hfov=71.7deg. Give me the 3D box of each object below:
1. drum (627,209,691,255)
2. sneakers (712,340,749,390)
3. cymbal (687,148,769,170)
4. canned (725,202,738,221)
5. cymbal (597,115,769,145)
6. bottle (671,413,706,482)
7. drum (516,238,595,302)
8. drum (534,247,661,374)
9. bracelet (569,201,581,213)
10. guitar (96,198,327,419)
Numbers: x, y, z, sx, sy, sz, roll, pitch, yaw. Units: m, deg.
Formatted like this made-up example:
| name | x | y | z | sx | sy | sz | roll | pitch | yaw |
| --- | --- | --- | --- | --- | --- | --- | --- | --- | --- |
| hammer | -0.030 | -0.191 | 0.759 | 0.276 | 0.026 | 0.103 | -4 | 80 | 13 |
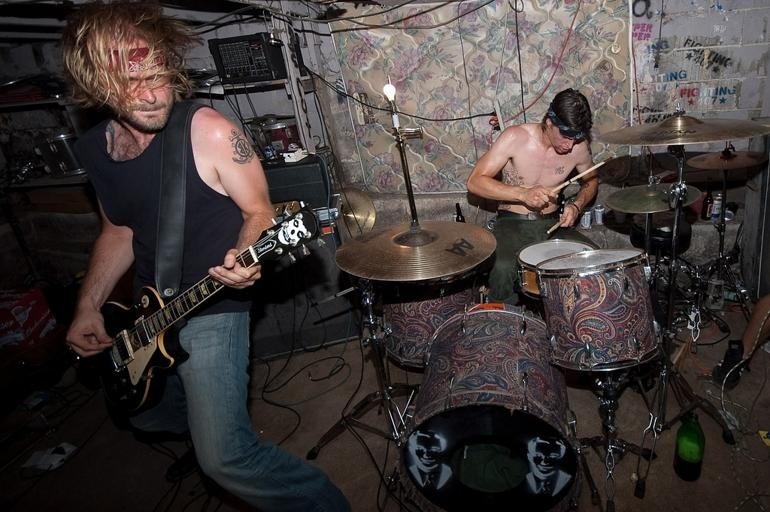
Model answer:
| name | x | y | z | sx | sy | sz | roll | pitch | yaw |
| --- | --- | --- | --- | --- | --- | --- | --- | --- | --- |
| drum | 2.578 | -0.218 | 4.913 | 0.497 | 0.269 | 0.480 | -2 | 8 | 0 |
| sneakers | 2.965 | 0.938 | 4.584 | 0.193 | 0.206 | 0.521 | 23 | 71 | 45 |
| cymbal | 3.123 | -0.874 | 4.845 | 0.343 | 0.082 | 0.356 | 6 | 36 | 32 |
| canned | 3.553 | -0.458 | 5.426 | 0.103 | 0.152 | 0.297 | 12 | 30 | 33 |
| cymbal | 2.584 | -1.068 | 4.475 | 0.570 | 0.117 | 0.560 | -15 | 25 | -18 |
| bottle | 2.323 | 1.417 | 4.016 | 0.212 | 0.502 | 0.292 | 11 | 30 | 32 |
| drum | 1.298 | 0.061 | 4.297 | 0.521 | 0.222 | 0.534 | -15 | 19 | 5 |
| drum | 1.603 | 0.385 | 3.984 | 0.761 | 0.771 | 0.769 | -9 | 6 | 23 |
| bracelet | 1.826 | -0.461 | 5.029 | 0.112 | 0.035 | 0.115 | 22 | 14 | -40 |
| guitar | -1.366 | 0.343 | 3.678 | 2.388 | 0.938 | 0.319 | -33 | -13 | 30 |
